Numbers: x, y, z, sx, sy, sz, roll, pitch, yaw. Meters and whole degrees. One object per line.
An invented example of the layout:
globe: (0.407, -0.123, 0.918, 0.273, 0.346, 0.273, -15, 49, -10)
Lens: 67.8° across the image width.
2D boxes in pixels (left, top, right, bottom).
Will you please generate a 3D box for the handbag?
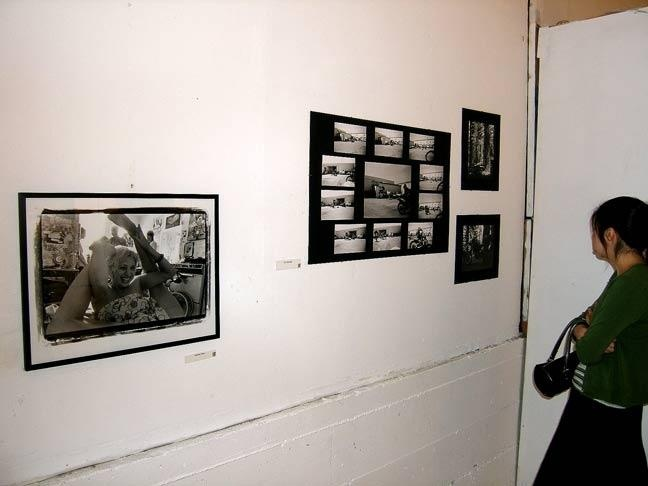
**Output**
handbag: (1.382, 0.700, 2.765, 0.129, 0.411, 0.353, -3, 4, 16)

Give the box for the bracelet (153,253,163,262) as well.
bracelet: (-0.702, 0.062, 2.042, 0.027, 0.034, 0.030, 7, 27, -19)
